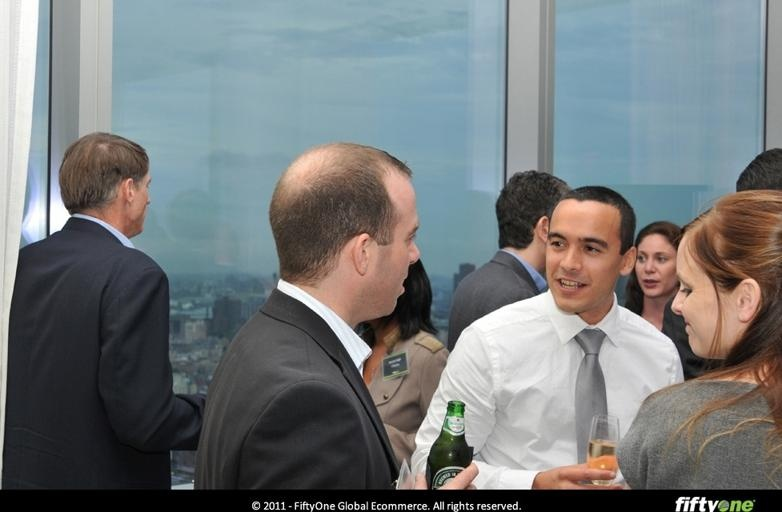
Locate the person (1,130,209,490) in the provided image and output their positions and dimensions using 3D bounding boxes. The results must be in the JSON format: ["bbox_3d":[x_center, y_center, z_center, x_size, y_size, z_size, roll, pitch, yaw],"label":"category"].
[{"bbox_3d":[-1.266,0.239,3.310,0.848,1.572,0.314,-1,1,-14],"label":"person"}]

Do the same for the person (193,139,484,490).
[{"bbox_3d":[-0.249,0.185,2.462,0.764,1.125,0.405,-1,1,-15],"label":"person"}]

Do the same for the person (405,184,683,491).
[{"bbox_3d":[0.601,0.348,3.174,0.957,1.616,0.631,8,-16,2],"label":"person"}]
